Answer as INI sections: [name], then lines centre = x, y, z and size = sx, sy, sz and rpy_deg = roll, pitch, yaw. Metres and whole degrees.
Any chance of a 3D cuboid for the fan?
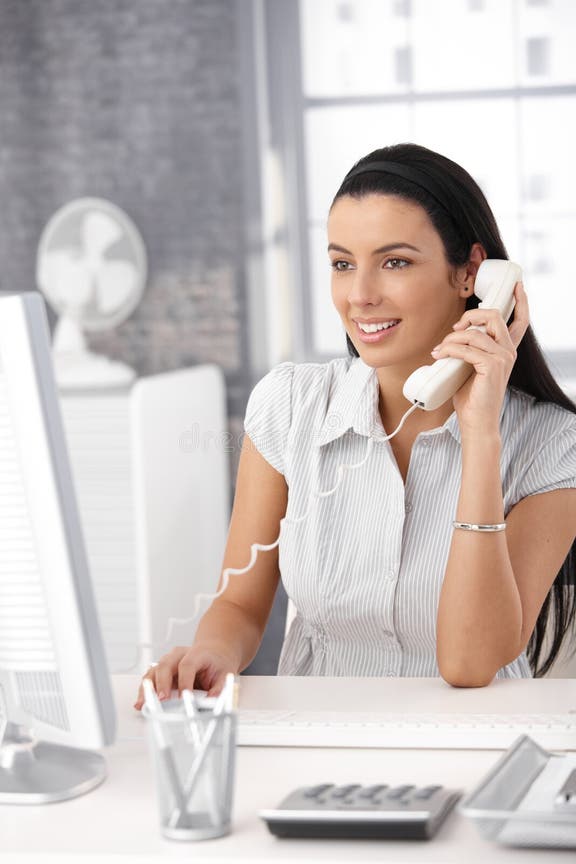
[fan]
centre = -0.444, -0.303, 1.915
size = 0.268, 0.361, 0.232
rpy_deg = 6, 14, -9
